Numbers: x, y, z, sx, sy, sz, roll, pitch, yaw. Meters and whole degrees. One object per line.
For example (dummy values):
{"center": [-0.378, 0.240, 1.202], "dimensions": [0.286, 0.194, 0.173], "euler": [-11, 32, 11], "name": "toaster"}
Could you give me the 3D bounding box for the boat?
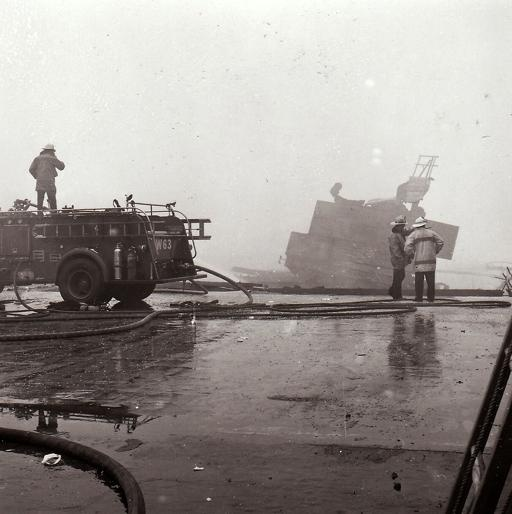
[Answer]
{"center": [5.459, -1.960, 31.998], "dimensions": [10.369, 4.627, 3.041], "euler": [10, 4, 19], "name": "boat"}
